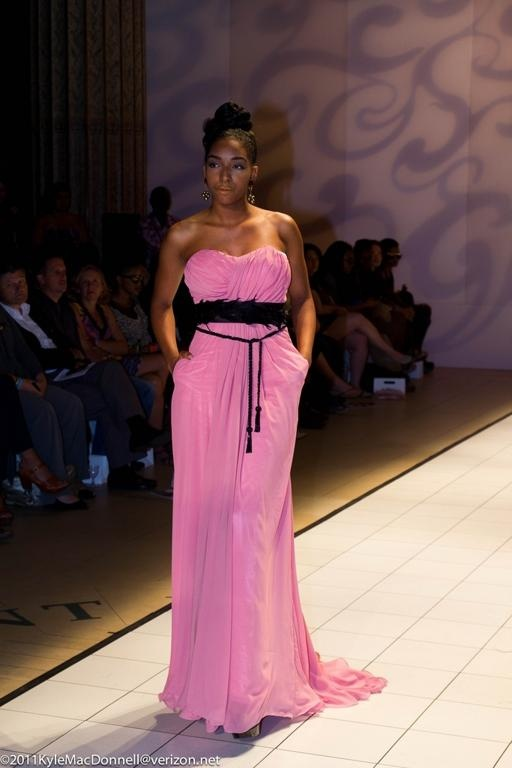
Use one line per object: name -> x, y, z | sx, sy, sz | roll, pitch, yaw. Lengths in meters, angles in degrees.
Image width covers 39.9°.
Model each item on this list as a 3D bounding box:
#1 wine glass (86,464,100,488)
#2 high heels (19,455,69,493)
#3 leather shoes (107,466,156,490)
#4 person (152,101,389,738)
wine glass -> -0.918, 0.521, 3.972 | 0.055, 0.120, 0.056 | 0, -4, -11
high heels -> -1.040, 0.416, 3.429 | 0.319, 0.156, 0.105 | 13, 27, 29
leather shoes -> -0.743, 0.538, 3.962 | 0.337, 0.124, 0.107 | 0, 1, 8
person -> 0.000, 0.055, 1.575 | 0.447, 1.336, 0.307 | 0, -4, -8
